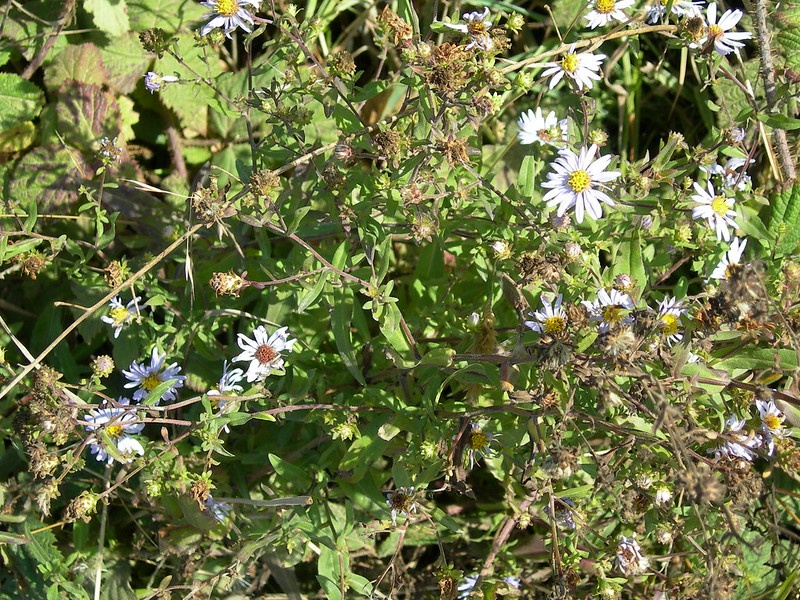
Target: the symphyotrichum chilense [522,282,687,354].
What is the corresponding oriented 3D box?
[{"bbox_3d":[0.701,0.038,2.656,0.524,0.086,0.267,0,71,-4],"label":"symphyotrichum chilense"}]
